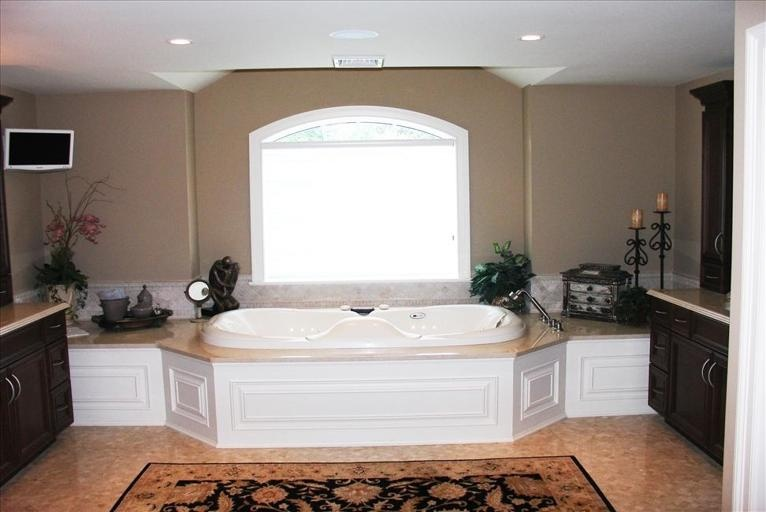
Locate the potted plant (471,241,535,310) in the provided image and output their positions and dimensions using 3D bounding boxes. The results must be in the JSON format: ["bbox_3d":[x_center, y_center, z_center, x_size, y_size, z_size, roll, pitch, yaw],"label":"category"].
[{"bbox_3d":[1.261,0.172,5.941,0.810,0.724,0.722,-1,0,-42],"label":"potted plant"}]

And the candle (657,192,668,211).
[{"bbox_3d":[2.623,-0.500,5.092,0.070,0.168,0.165,2,8,21],"label":"candle"}]

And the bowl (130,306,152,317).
[{"bbox_3d":[-2.397,0.545,5.387,0.200,0.096,0.120,-2,7,-15],"label":"bowl"}]

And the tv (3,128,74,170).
[{"bbox_3d":[-3.130,-0.958,4.895,0.553,0.347,0.052,-2,3,-31],"label":"tv"}]

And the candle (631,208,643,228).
[{"bbox_3d":[2.465,-0.356,5.260,0.078,0.175,0.191,2,8,18],"label":"candle"}]

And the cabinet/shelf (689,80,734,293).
[{"bbox_3d":[3.062,-0.598,4.872,0.358,1.796,0.577,-9,13,31],"label":"cabinet/shelf"}]

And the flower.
[{"bbox_3d":[-3.108,-0.093,5.440,0.791,1.468,0.593,-2,8,-12],"label":"flower"}]
